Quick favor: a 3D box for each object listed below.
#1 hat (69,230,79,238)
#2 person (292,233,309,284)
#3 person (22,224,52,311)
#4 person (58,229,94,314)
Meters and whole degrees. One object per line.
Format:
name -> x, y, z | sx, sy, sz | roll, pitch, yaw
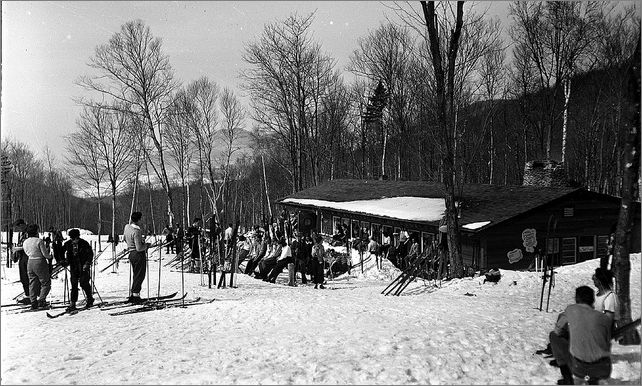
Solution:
hat -> -10.604, 1.760, 23.750 | 0.385, 0.385, 0.435 | -4, 10, -24
person -> -1.113, 3.787, 30.091 | 0.880, 2.511, 1.490 | 0, 9, -2
person -> -12.298, 3.208, 23.939 | 1.133, 3.651, 0.842 | 3, 10, 22
person -> -10.613, 3.403, 24.300 | 1.201, 3.727, 1.030 | -8, 27, -26
